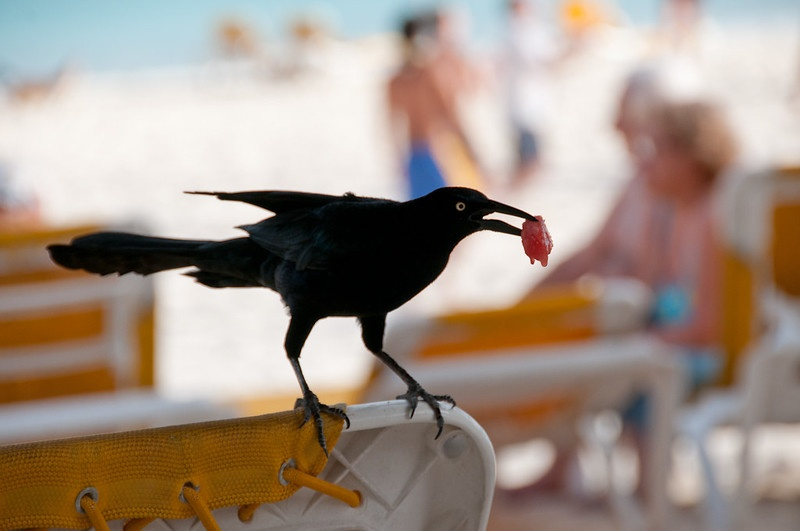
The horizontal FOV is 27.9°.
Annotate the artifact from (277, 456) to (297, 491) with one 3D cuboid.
[{"bbox_3d":[-0.136,0.244,1.909,0.010,0.027,0.029,10,9,0],"label":"artifact"}]

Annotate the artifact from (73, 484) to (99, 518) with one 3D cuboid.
[{"bbox_3d":[-0.365,0.272,1.874,0.030,0.028,0.011,-16,29,-26],"label":"artifact"}]

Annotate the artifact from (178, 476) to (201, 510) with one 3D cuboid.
[{"bbox_3d":[-0.251,0.265,1.887,0.023,0.028,0.010,13,-1,1],"label":"artifact"}]

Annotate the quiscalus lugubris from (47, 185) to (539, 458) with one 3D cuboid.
[{"bbox_3d":[-0.148,-0.011,2.126,0.669,0.282,0.210,15,5,32],"label":"quiscalus lugubris"}]
